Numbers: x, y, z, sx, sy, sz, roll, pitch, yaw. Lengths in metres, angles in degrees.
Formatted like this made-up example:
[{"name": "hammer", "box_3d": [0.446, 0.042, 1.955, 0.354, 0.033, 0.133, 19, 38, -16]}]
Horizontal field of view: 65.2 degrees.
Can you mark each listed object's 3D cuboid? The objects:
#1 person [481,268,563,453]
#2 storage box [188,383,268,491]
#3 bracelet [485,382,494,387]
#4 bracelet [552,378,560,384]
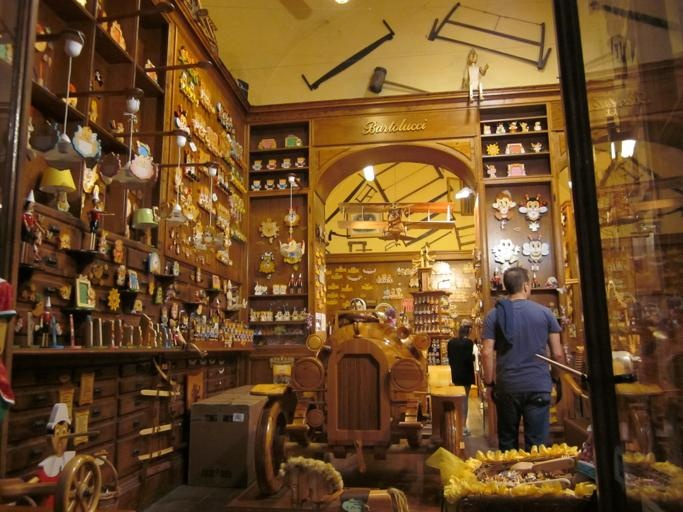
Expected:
[{"name": "person", "box_3d": [1.261, 0.693, 3.757, 0.538, 1.258, 0.369, -6, -13, 20]}, {"name": "storage box", "box_3d": [-1.030, 1.674, 4.827, 0.497, 0.666, 0.963, -1, -7, 4]}, {"name": "bracelet", "box_3d": [1.084, 0.936, 3.909, 0.040, 0.028, 0.054, -1, -12, 6]}, {"name": "bracelet", "box_3d": [1.608, 0.941, 3.997, 0.065, 0.034, 0.050, -5, -4, 6]}]
